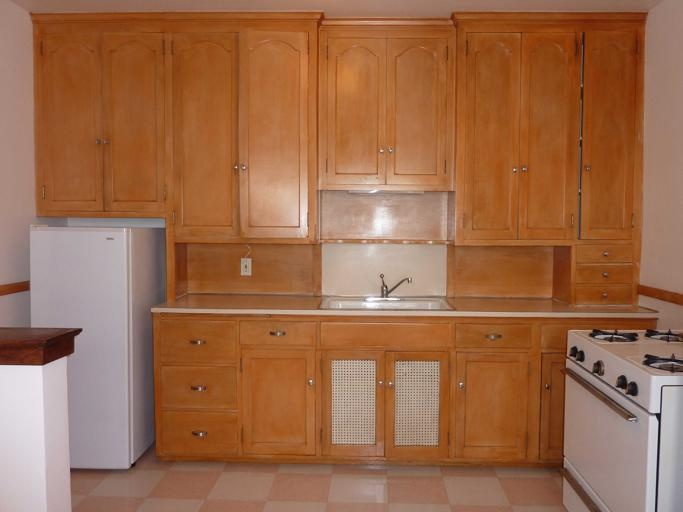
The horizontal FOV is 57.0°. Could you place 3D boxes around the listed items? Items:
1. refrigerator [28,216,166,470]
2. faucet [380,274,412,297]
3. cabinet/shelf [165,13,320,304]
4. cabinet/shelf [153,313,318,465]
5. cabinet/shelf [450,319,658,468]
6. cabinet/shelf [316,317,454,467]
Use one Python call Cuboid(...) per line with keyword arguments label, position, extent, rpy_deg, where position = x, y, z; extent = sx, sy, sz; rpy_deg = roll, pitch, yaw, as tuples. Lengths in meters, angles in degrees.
Cuboid(label="refrigerator", position=(-1.713, 0.565, 4.310), extent=(0.829, 1.615, 0.851), rpy_deg=(2, -26, -7))
Cuboid(label="faucet", position=(0.429, 0.221, 4.745), extent=(0.310, 0.183, 0.116), rpy_deg=(-9, 4, 3))
Cuboid(label="cabinet/shelf", position=(-0.724, -0.785, 4.800), extent=(1.175, 1.841, 0.605), rpy_deg=(3, 19, 4))
Cuboid(label="cabinet/shelf", position=(-0.708, 0.866, 4.326), extent=(1.059, 0.850, 0.402), rpy_deg=(1, -1, 1))
Cuboid(label="cabinet/shelf", position=(1.332, 0.885, 4.488), extent=(1.227, 1.021, 0.456), rpy_deg=(1, 5, -4))
Cuboid(label="cabinet/shelf", position=(0.311, 0.886, 4.303), extent=(1.033, 1.002, 0.494), rpy_deg=(0, 1, 1))
